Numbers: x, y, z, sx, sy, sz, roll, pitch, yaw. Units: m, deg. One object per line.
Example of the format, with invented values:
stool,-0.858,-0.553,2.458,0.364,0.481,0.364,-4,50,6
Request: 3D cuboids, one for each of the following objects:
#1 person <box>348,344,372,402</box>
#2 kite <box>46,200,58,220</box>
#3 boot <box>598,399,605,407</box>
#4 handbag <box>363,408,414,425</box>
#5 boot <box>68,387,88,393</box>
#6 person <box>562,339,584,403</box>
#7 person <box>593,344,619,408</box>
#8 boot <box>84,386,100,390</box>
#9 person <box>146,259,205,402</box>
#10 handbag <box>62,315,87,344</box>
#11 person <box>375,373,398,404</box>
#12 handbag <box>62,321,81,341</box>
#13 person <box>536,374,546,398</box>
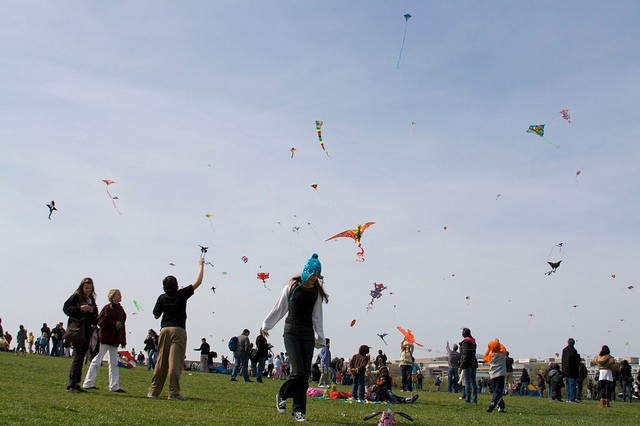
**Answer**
person,1.311,5.396,30.056,0.665,1.909,0.681,-3,-13,32
kite,-6.142,-0.123,20.247,0.167,0.389,0.360,9,5,42
boot,9.689,6.529,30.565,0.206,0.366,0.750,0,-20,18
handbag,1.817,5.251,22.588,0.674,0.255,0.656,15,-20,-32
boot,-6.699,4.897,24.566,0.428,0.177,0.142,-2,-11,4
person,9.231,5.683,32.278,0.751,2.334,0.761,4,-6,-19
person,9.945,5.705,31.014,0.830,2.081,0.744,7,-11,-19
boot,-6.517,4.990,25.304,0.378,0.155,0.122,2,-7,-7
person,-4.126,3.231,24.875,1.165,3.879,1.555,9,-20,-8
handbag,-6.832,3.253,24.911,0.634,0.736,0.406,11,-20,-14
person,2.196,5.706,28.884,0.700,0.961,0.419,5,-20,3
handbag,-6.969,3.300,24.869,0.448,0.523,0.184,3,-20,8
person,9.056,7.126,36.403,0.281,1.022,1.271,1,-20,15
